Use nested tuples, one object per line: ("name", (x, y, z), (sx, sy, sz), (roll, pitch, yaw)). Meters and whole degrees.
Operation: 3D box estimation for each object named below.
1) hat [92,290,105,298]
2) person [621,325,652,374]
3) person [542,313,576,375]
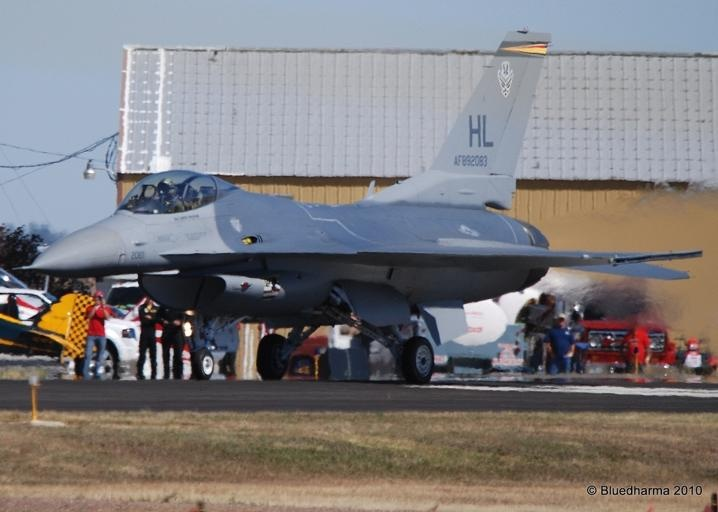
("hat", (-6.011, 0.883, 32.515), (0.291, 0.238, 0.470), (1, -5, -20))
("person", (7.361, 2.376, 37.428), (0.296, 1.161, 0.316), (-5, 10, 25))
("person", (5.028, 2.276, 35.271), (0.645, 1.915, 0.557), (-2, 33, 0))
